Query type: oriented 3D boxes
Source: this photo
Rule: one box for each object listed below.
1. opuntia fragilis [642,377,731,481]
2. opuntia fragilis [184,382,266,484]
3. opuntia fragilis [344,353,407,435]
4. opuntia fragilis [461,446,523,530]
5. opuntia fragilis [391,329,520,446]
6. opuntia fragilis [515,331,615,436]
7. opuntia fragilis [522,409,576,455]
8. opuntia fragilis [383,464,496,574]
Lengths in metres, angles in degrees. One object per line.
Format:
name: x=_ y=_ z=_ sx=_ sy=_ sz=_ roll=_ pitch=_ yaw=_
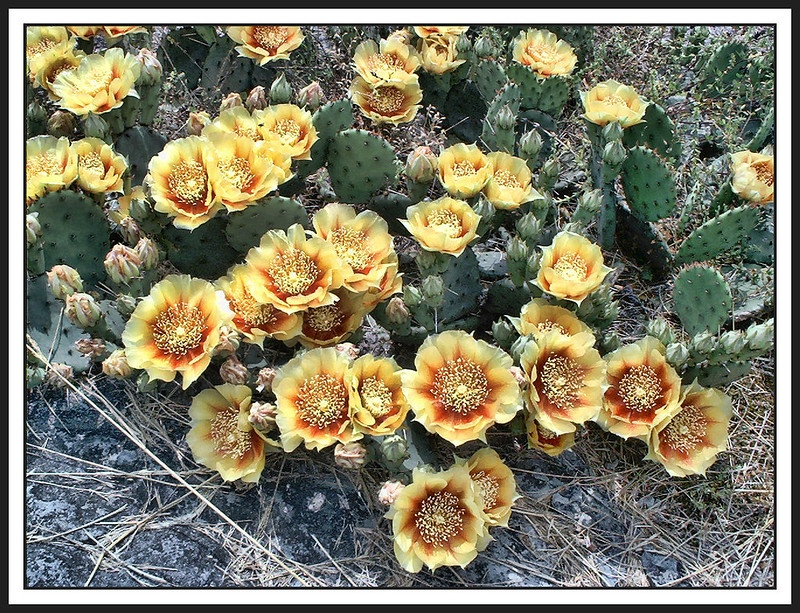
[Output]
opuntia fragilis: x=0.657 y=0.283 z=1.686 sx=0.211 sy=0.091 sz=0.211 roll=-32 pitch=87 yaw=-7
opuntia fragilis: x=-0.387 y=0.282 z=1.579 sx=0.188 sy=0.095 sz=0.217 roll=5 pitch=80 yaw=3
opuntia fragilis: x=-0.047 y=0.197 z=1.510 sx=0.162 sy=0.073 sz=0.159 roll=-8 pitch=75 yaw=-7
opuntia fragilis: x=0.182 y=0.394 z=1.551 sx=0.161 sy=0.067 sz=0.157 roll=22 pitch=54 yaw=-33
opuntia fragilis: x=0.128 y=0.158 z=1.486 sx=0.237 sy=0.059 sz=0.231 roll=-24 pitch=80 yaw=-3
opuntia fragilis: x=0.370 y=0.160 z=1.541 sx=0.172 sy=0.043 sz=0.218 roll=-7 pitch=80 yaw=0
opuntia fragilis: x=0.338 y=0.279 z=1.596 sx=0.100 sy=0.043 sz=0.100 roll=1 pitch=96 yaw=16
opuntia fragilis: x=0.076 y=0.436 z=1.460 sx=0.197 sy=0.070 sz=0.210 roll=-14 pitch=80 yaw=-1
